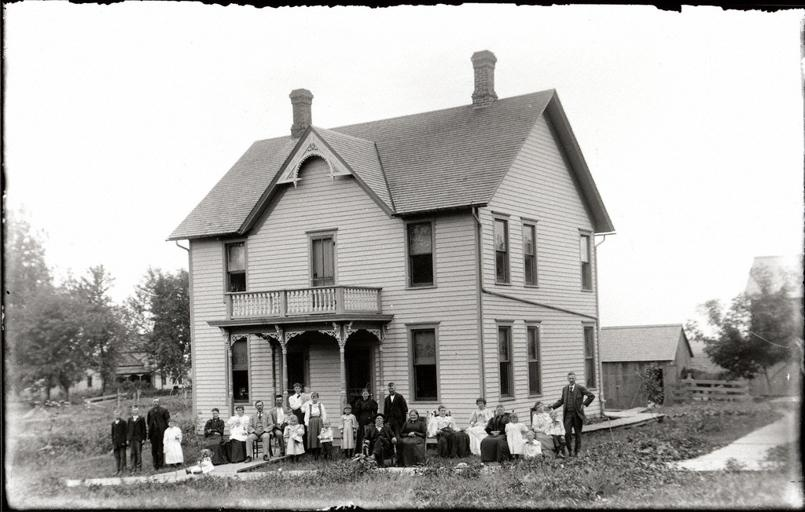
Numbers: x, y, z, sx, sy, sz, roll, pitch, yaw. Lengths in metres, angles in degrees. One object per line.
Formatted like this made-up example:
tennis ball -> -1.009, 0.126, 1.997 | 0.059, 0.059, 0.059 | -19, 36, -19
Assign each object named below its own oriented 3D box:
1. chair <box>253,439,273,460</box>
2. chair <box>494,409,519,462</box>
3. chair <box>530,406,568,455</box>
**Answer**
chair -> -5.393, 7.562, 34.135 | 0.694, 1.072, 0.681 | -1, -7, 24
chair -> 3.647, 6.449, 30.942 | 0.665, 1.590, 0.564 | -1, -8, 3
chair -> 5.187, 6.184, 31.165 | 1.189, 1.789, 0.896 | 0, -8, 1
